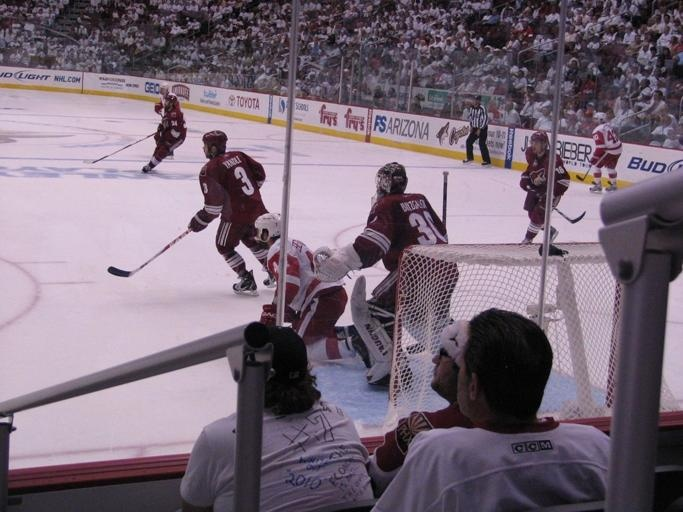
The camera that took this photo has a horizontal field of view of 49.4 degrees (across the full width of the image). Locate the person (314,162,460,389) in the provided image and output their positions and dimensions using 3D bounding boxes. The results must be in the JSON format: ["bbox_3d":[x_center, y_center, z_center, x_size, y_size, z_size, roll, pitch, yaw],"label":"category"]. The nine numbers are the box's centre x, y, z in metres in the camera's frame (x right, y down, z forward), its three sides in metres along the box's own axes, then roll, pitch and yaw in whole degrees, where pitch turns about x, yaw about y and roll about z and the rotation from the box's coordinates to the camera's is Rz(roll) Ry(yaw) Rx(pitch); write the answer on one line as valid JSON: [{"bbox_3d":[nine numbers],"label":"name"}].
[{"bbox_3d":[0.281,0.120,4.185,0.796,1.180,0.753,-2,1,-44],"label":"person"}]

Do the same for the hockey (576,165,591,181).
[{"bbox_3d":[3.198,-1.053,9.775,0.185,0.212,0.784,3,12,17],"label":"hockey"}]

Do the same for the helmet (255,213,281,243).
[{"bbox_3d":[-0.424,-0.165,4.506,0.199,0.190,0.155,7,11,18],"label":"helmet"}]

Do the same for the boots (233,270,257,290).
[{"bbox_3d":[-0.790,0.202,6.033,0.096,0.188,0.270,-11,19,-36],"label":"boots"}]

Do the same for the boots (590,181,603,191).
[{"bbox_3d":[3.353,-0.890,9.741,0.075,0.099,0.144,-4,11,-16],"label":"boots"}]

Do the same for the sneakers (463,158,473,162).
[{"bbox_3d":[1.869,-1.403,11.013,0.110,0.044,0.038,9,27,29],"label":"sneakers"}]

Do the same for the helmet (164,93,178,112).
[{"bbox_3d":[-1.757,-1.591,7.738,0.159,0.213,0.210,2,6,-2],"label":"helmet"}]

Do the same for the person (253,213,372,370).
[{"bbox_3d":[-0.211,0.219,4.279,0.575,0.975,0.397,-13,0,9],"label":"person"}]

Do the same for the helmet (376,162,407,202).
[{"bbox_3d":[0.278,-0.418,4.199,0.201,0.218,0.168,12,10,7],"label":"helmet"}]

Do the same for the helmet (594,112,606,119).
[{"bbox_3d":[3.389,-1.805,9.652,0.138,0.083,0.135,2,12,15],"label":"helmet"}]
